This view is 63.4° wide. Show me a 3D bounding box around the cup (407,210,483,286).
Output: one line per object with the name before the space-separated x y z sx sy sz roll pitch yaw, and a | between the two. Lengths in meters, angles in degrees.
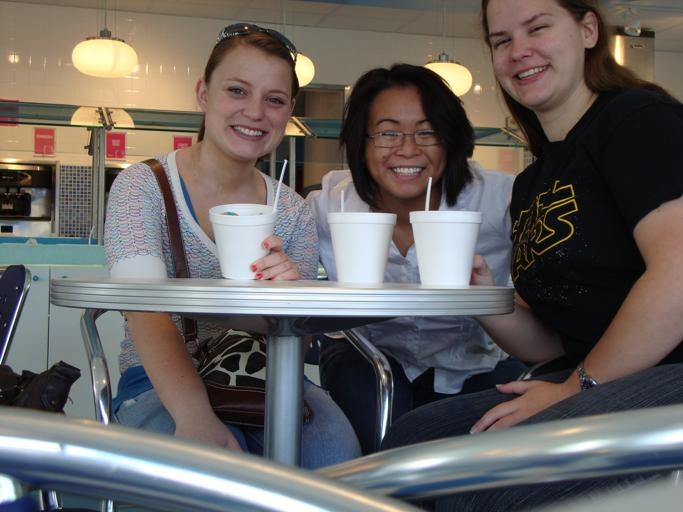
cup | 0.201 -0.009 0.990 0.136 0.120 0.129 0 -1 0

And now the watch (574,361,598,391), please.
watch | 0.404 0.203 0.937 0.022 0.036 0.029 -29 -14 -14

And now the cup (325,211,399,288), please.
cup | 0.015 -0.017 1.014 0.129 0.114 0.127 1 -1 0

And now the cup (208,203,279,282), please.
cup | -0.168 -0.023 0.945 0.092 0.127 0.108 -11 16 -42

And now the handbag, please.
handbag | -0.220 0.320 1.219 0.149 0.059 0.201 12 4 -23

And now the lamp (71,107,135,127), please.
lamp | -1.193 -0.689 2.747 0.346 0.102 0.033 2 -14 -5
